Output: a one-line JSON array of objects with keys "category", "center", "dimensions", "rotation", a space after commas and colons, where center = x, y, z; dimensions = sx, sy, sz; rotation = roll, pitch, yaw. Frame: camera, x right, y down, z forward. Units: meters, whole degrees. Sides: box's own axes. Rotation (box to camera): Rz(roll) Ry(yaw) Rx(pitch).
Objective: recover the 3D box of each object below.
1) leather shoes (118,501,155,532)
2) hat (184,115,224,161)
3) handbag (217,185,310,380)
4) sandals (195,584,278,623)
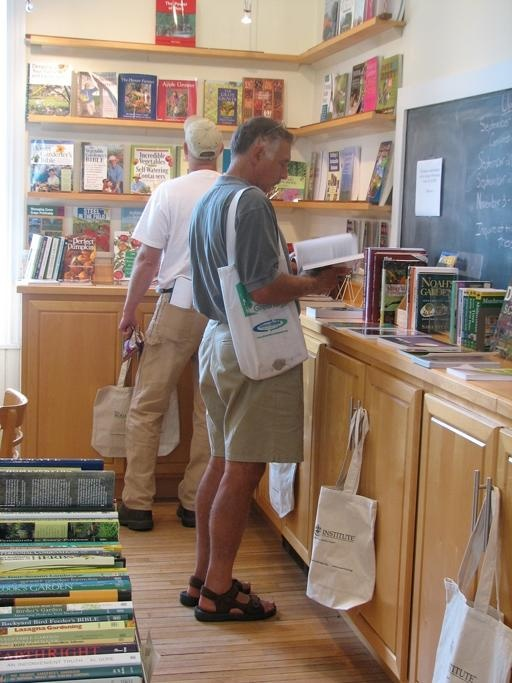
[{"category": "leather shoes", "center": [-0.631, 0.872, 2.930], "dimensions": [0.096, 0.132, 0.255], "rotation": [2, 6, -30]}, {"category": "hat", "center": [-0.266, -1.012, 2.764], "dimensions": [0.147, 0.245, 0.116], "rotation": [-3, -14, -13]}, {"category": "handbag", "center": [0.026, -0.166, 1.812], "dimensions": [0.291, 0.598, 0.094], "rotation": [-1, 5, -29]}, {"category": "sandals", "center": [-0.081, 0.981, 2.147], "dimensions": [0.283, 0.137, 0.136], "rotation": [-2, 3, -13]}]
